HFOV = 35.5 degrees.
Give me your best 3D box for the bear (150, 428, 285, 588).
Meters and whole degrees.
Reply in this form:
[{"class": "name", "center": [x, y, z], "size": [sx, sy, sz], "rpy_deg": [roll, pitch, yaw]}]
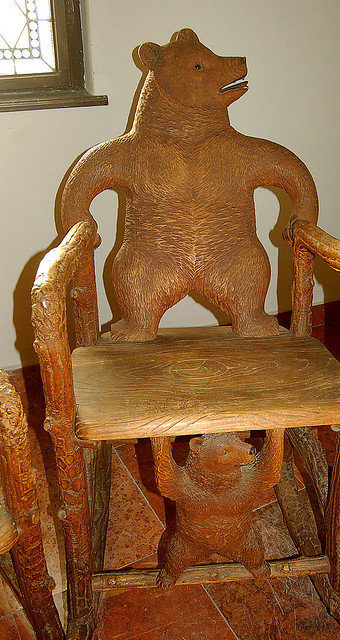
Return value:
[{"class": "bear", "center": [0.074, 0.289, 0.890], "size": [0.206, 0.381, 0.130], "rpy_deg": [-4, 26, -5]}]
